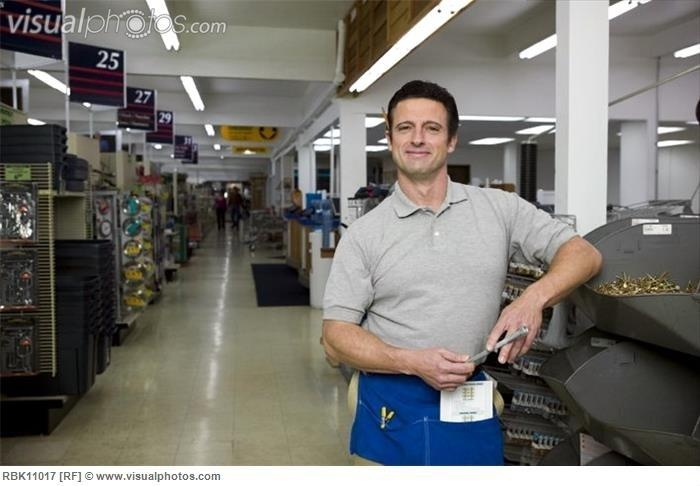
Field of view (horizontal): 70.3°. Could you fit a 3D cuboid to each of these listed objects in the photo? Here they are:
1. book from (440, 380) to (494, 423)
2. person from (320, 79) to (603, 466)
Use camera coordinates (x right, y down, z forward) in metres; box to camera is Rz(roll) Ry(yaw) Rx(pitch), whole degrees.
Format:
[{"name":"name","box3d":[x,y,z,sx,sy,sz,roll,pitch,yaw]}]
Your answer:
[{"name":"book","box3d":[0.452,0.623,1.915,0.162,0.181,0.042,-2,6,-7]},{"name":"person","box3d":[0.390,0.136,1.968,0.985,1.556,0.473,0,6,-4]}]
